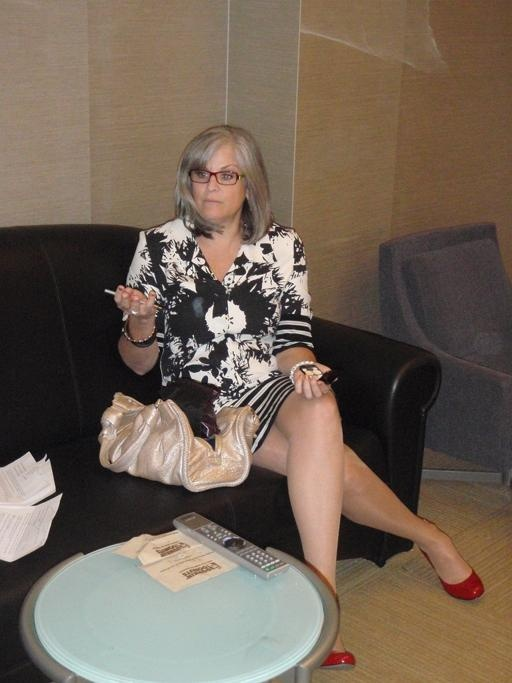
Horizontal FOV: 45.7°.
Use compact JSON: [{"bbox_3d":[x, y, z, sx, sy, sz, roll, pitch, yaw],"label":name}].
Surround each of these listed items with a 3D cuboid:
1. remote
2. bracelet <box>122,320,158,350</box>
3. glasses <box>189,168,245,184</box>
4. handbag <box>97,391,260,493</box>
[{"bbox_3d":[-0.043,0.313,0.944,0.060,0.021,0.201,-17,25,-41],"label":"remote"},{"bbox_3d":[-0.310,-0.022,1.604,0.093,0.073,0.074,2,11,0],"label":"bracelet"},{"bbox_3d":[-0.110,-0.434,1.614,0.130,0.040,0.034,1,11,-1],"label":"glasses"},{"bbox_3d":[-0.187,0.235,1.436,0.321,0.129,0.232,6,29,3],"label":"handbag"}]
